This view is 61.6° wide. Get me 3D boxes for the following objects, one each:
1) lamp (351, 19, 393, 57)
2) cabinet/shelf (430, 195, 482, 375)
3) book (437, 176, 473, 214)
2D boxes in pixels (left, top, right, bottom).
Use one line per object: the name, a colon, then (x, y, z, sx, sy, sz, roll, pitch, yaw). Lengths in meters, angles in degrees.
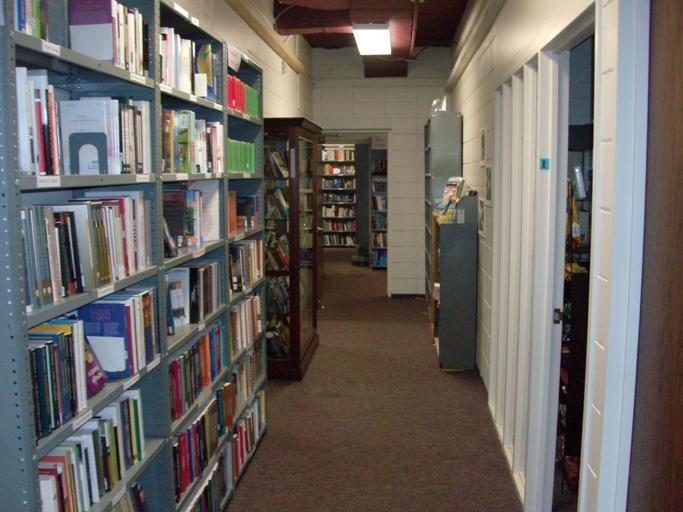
lamp: (0.328, -2.269, 5.740, 0.348, 0.146, 0.627, 6, 34, 8)
cabinet/shelf: (1.108, 0.290, 5.457, 0.295, 1.162, 1.448, -1, 9, 7)
book: (1.144, -0.617, 5.776, 0.109, 0.451, 0.308, 12, 13, 3)
